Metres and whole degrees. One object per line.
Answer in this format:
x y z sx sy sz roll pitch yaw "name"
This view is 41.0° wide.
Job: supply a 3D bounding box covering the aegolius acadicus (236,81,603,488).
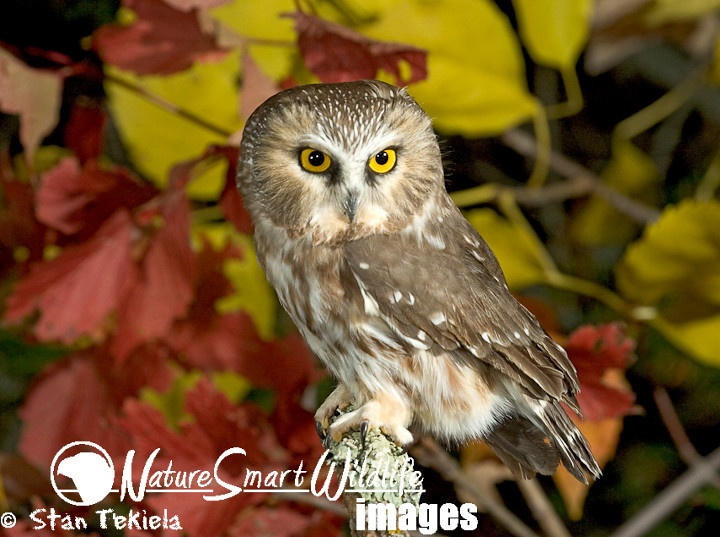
0.081 0.014 1.590 0.635 0.582 0.226 13 20 -3 "aegolius acadicus"
